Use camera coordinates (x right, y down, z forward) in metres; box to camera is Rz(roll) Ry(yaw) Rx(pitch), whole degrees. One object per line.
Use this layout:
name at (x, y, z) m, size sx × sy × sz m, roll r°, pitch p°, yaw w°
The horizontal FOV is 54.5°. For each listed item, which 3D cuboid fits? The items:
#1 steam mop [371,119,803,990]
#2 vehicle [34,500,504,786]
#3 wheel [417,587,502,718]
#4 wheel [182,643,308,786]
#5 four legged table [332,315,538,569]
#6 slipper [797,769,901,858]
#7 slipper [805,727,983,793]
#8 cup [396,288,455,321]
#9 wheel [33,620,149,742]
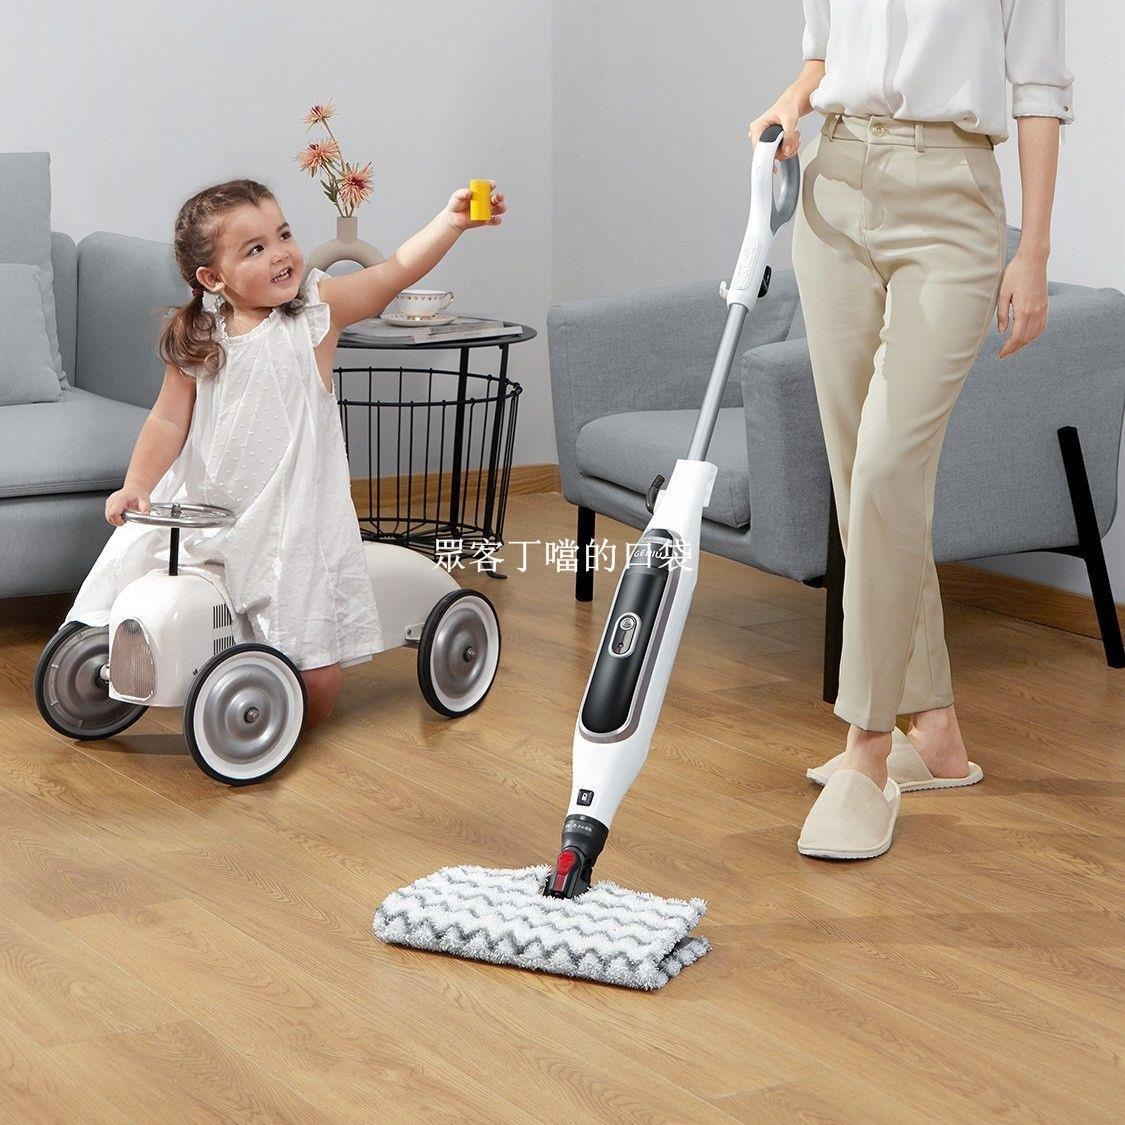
steam mop at (0.028, -0.056, 1.203) m, size 0.320 × 0.871 × 0.429 m, roll 4°, pitch 9°, yaw 22°
vehicle at (-0.454, 0.064, 1.825) m, size 0.406 × 0.359 × 0.641 m, roll 6°, pitch 9°, yaw 38°
wheel at (-0.180, 0.156, 1.874) m, size 0.067 × 0.226 × 0.219 m, roll 3°, pitch 5°, yaw 36°
wheel at (-0.462, 0.219, 1.578) m, size 0.193 × 0.193 × 0.047 m, roll -10°, pitch 9°, yaw -43°
four legged table at (-0.380, -0.336, 3.150) m, size 0.753 × 0.685 × 0.733 m, roll -2°, pitch 13°, yaw -12°
slipper at (0.365, 0.309, 1.392) m, size 0.072 × 0.054 × 0.152 m, roll -1°, pitch 8°, yaw 22°
slipper at (0.502, 0.297, 1.615) m, size 0.267 × 0.094 × 0.097 m, roll -1°, pitch 2°, yaw -20°
cup at (-0.341, -0.619, 2.701) m, size 0.153 × 0.070 × 0.120 m, roll 0°, pitch -2°, yaw -10°
wheel at (-0.722, 0.183, 1.683) m, size 0.185 × 0.200 × 0.061 m, roll -7°, pitch 21°, yaw -37°
